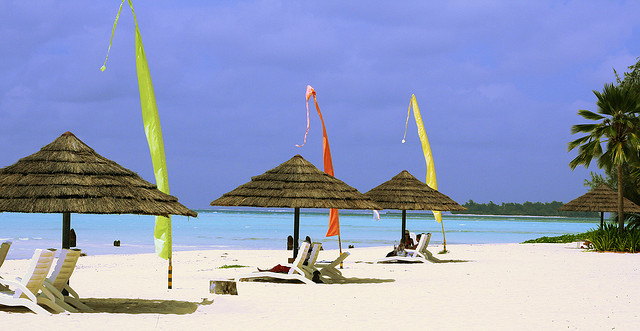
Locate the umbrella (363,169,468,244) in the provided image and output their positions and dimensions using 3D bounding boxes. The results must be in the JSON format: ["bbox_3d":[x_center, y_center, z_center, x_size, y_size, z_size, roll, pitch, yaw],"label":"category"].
[{"bbox_3d":[4.012,1.827,31.586,4.897,3.612,4.639,-1,17,-6],"label":"umbrella"}]

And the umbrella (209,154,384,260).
[{"bbox_3d":[-0.637,1.492,26.182,4.717,2.422,4.444,-1,-5,7],"label":"umbrella"}]

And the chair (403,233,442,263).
[{"bbox_3d":[4.414,3.593,29.326,1.423,1.262,0.949,0,0,-6],"label":"chair"}]

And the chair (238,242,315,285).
[{"bbox_3d":[-1.335,3.770,24.742,3.290,1.742,1.188,2,-11,5],"label":"chair"}]
